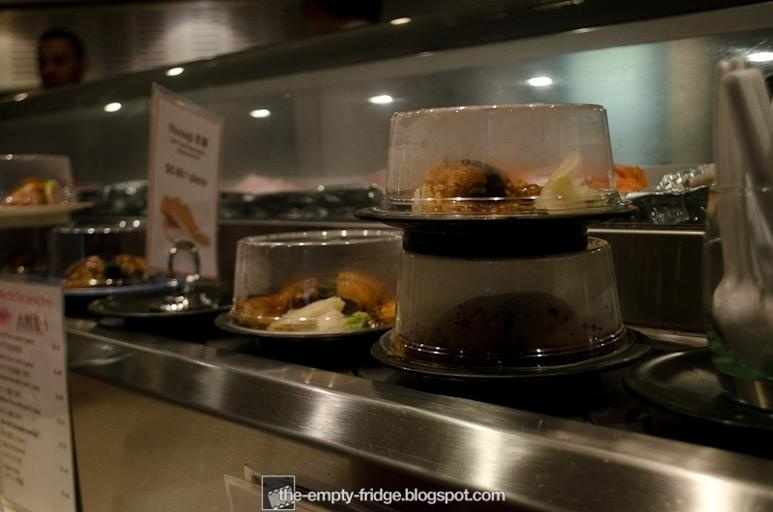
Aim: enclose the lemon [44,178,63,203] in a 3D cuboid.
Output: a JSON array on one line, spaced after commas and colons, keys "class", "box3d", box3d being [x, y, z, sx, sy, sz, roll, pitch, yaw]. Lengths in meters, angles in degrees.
[{"class": "lemon", "box3d": [-0.995, -0.186, 1.700, 0.045, 0.063, 0.240, -3, 1, -29]}]
